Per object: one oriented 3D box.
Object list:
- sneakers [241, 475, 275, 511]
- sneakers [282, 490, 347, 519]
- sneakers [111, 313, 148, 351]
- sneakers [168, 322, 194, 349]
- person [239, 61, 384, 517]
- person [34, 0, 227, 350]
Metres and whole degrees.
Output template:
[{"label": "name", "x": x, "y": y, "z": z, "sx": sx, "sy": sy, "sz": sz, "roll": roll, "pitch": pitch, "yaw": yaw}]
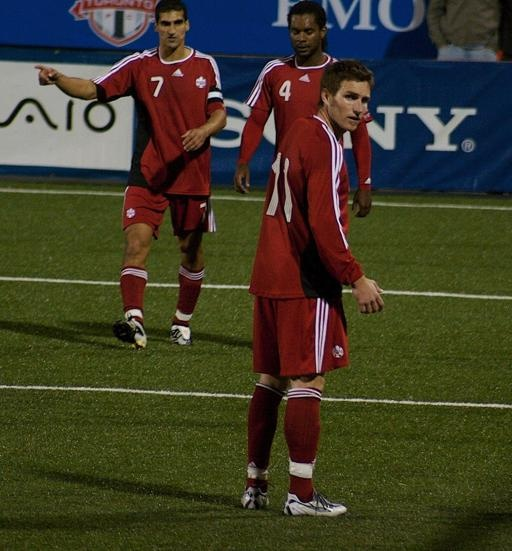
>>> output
[{"label": "sneakers", "x": 0.004, "y": 0.924, "z": 5.571, "sx": 0.064, "sy": 0.092, "sz": 0.190, "roll": 3, "pitch": 3, "yaw": 7}, {"label": "sneakers", "x": 0.253, "y": 0.963, "z": 5.550, "sx": 0.240, "sy": 0.119, "sz": 0.102, "roll": 1, "pitch": -6, "yaw": -6}, {"label": "sneakers", "x": -0.683, "y": 0.300, "z": 7.354, "sx": 0.103, "sy": 0.147, "sz": 0.311, "roll": 5, "pitch": -22, "yaw": 2}, {"label": "sneakers", "x": -0.449, "y": 0.364, "z": 7.935, "sx": 0.083, "sy": 0.106, "sz": 0.142, "roll": 10, "pitch": 13, "yaw": -33}, {"label": "person", "x": 0.243, "y": 0.090, "z": 5.585, "sx": 0.534, "sy": 1.829, "sz": 0.903, "roll": 6, "pitch": 24, "yaw": 0}, {"label": "person", "x": -0.565, "y": -0.560, "z": 7.781, "sx": 0.920, "sy": 1.877, "sz": 1.117, "roll": -5, "pitch": 27, "yaw": -23}]
